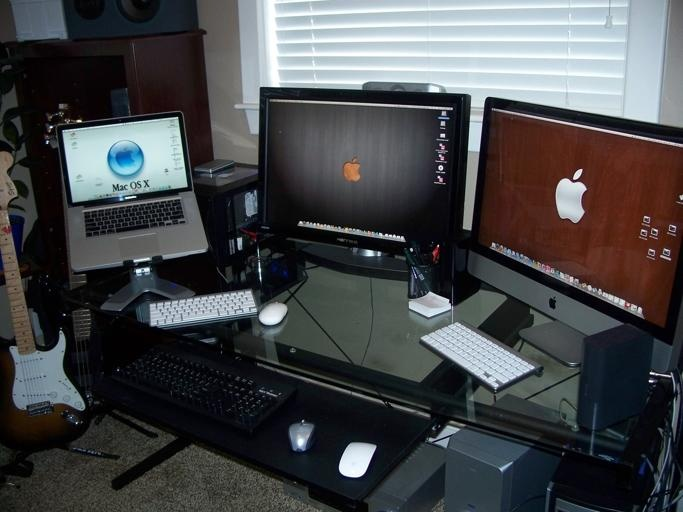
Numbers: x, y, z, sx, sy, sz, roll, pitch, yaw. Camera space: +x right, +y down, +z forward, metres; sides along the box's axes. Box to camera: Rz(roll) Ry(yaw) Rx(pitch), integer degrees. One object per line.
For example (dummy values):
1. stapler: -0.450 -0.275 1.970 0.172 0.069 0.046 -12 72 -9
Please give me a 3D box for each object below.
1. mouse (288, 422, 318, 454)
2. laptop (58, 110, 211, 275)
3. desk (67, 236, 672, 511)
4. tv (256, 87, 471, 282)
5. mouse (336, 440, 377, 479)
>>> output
1. mouse: -0.103 0.460 1.456 0.073 0.047 0.131 -6 10 2
2. laptop: -0.767 -0.325 2.001 0.496 0.277 0.490 0 9 44
3. desk: 0.001 0.363 1.409 0.965 0.502 0.656 11 22 26
4. tv: 0.076 -0.234 1.768 0.526 0.441 0.180 9 17 21
5. mouse: 0.037 0.499 1.384 0.073 0.027 0.117 -2 25 10
